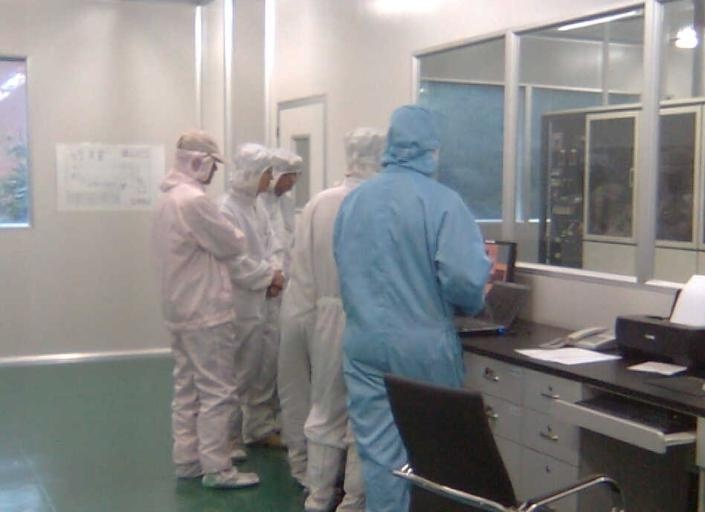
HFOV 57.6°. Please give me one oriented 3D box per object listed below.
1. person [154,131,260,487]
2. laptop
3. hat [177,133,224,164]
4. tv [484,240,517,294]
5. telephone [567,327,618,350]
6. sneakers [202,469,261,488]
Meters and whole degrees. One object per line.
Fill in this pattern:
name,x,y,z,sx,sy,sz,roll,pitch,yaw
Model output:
person,-0.868,0.294,3.712,0.491,1.977,0.731,-4,13,-21
laptop,0.765,0.282,3.450,0.312,0.198,0.313,-4,8,-17
hat,-0.911,-0.669,3.864,0.254,0.136,0.171,9,6,-28
tv,0.860,0.059,3.680,0.076,0.287,0.271,4,0,-38
telephone,1.233,0.400,3.172,0.305,0.065,0.165,-5,14,-25
sneakers,-0.710,1.240,3.695,0.264,0.110,0.130,-2,-2,-12
